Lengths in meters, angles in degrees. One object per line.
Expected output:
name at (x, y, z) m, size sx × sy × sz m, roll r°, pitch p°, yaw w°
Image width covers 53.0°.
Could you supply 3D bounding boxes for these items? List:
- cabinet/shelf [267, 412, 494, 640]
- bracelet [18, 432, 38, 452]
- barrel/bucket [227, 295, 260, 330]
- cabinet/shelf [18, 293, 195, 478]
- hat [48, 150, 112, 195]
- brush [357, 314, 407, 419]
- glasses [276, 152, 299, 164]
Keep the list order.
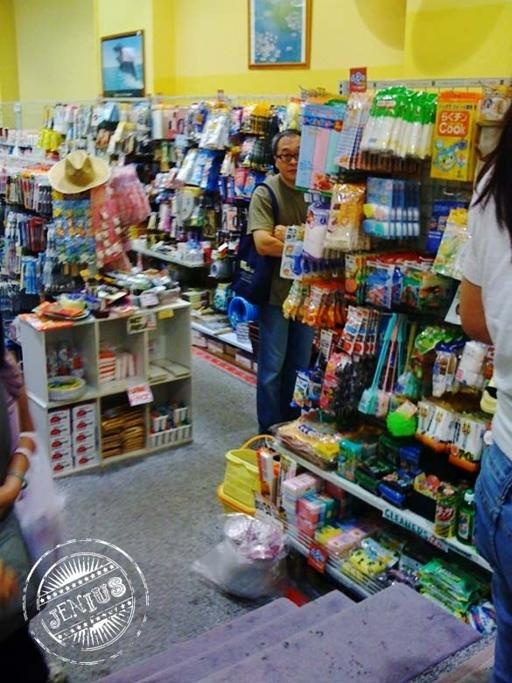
cabinet/shelf at (0.543, 0.848, 2.264) m, size 0.624 × 0.546 × 1.132 m, roll -5°, pitch 22°, yaw -35°
bracelet at (-0.537, 0.240, 1.221) m, size 0.041 × 0.040 × 0.038 m, roll -11°, pitch 18°, yaw -33°
barrel/bucket at (-0.160, -0.320, 5.435) m, size 0.356 × 0.324 × 0.254 m, roll -6°, pitch 5°, yaw 43°
cabinet/shelf at (-1.013, 0.313, 3.502) m, size 1.133 × 1.053 × 0.363 m, roll -14°, pitch 19°, yaw -38°
hat at (-1.313, -1.243, 3.816) m, size 0.445 × 0.317 × 0.357 m, roll -1°, pitch 14°, yaw -14°
brush at (0.537, 0.098, 2.175) m, size 0.149 × 0.441 × 0.104 m, roll 12°, pitch 16°, yaw 36°
glasses at (0.188, -1.176, 3.302) m, size 0.071 × 0.062 × 0.197 m, roll -9°, pitch 17°, yaw -39°
